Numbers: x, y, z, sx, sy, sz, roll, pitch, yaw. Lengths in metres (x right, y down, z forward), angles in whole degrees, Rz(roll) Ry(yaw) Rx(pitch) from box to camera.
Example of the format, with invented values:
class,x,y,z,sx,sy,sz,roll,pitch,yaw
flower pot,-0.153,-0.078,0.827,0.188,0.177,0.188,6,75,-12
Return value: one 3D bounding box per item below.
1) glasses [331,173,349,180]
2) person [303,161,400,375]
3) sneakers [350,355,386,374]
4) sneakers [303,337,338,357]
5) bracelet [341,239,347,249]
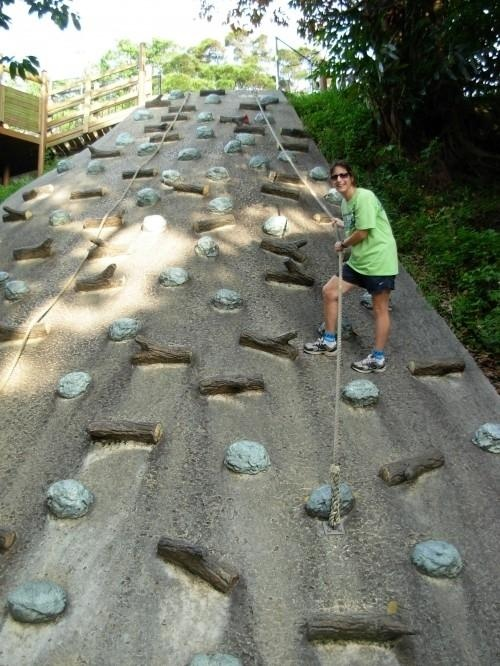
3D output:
class,x,y,z,sx,sy,sz,roll,pitch,yaw
glasses,0.540,-0.962,3.051,0.098,0.044,0.039,6,28,9
person,0.707,-0.379,3.273,0.610,1.385,0.620,-2,29,-7
sneakers,0.826,0.224,3.488,0.269,0.122,0.094,0,49,2
sneakers,0.502,0.103,3.593,0.275,0.126,0.096,3,54,7
bracelet,0.588,-0.564,3.171,0.040,0.048,0.018,-2,-11,-8
